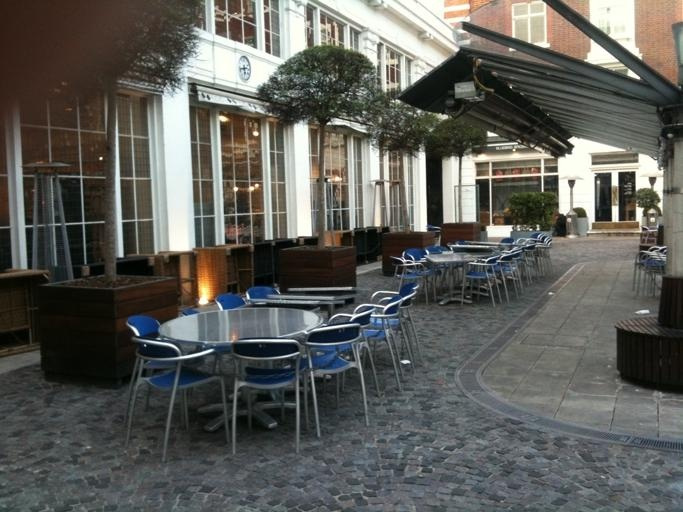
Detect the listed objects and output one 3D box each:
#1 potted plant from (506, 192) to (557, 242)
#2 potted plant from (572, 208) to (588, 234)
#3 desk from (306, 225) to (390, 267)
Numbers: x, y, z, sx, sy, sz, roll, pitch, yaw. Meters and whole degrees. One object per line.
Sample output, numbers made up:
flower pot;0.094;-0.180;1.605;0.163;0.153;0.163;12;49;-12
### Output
potted plant;9.118;-2.000;25.931;3.505;2.636;1.981;1;4;8
potted plant;12.355;-1.790;27.501;0.666;1.433;1.254;1;7;25
desk;0.715;-0.353;18.656;0.531;1.237;3.977;1;6;28
